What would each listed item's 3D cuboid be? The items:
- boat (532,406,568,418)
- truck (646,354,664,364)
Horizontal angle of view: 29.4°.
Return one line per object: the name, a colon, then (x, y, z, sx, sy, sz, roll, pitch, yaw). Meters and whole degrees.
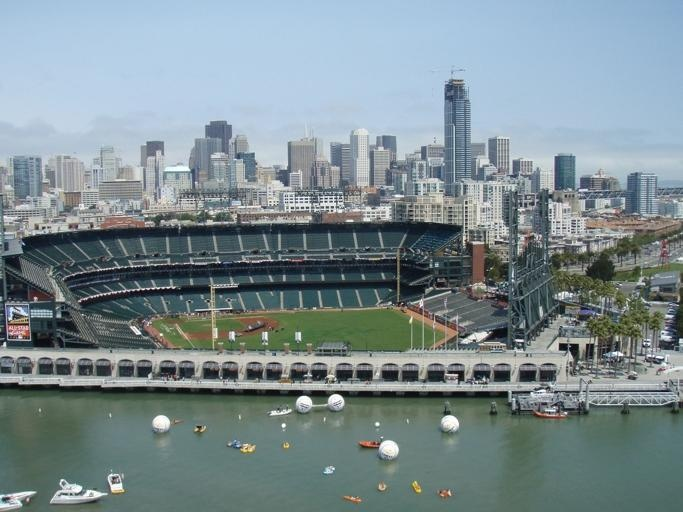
boat: (24.453, 18.143, 150.964, 3.232, 0.906, 1.471, 2, 1, -1)
truck: (39.821, 12.993, 164.090, 2.244, 0.928, 2.132, 1, 7, 14)
